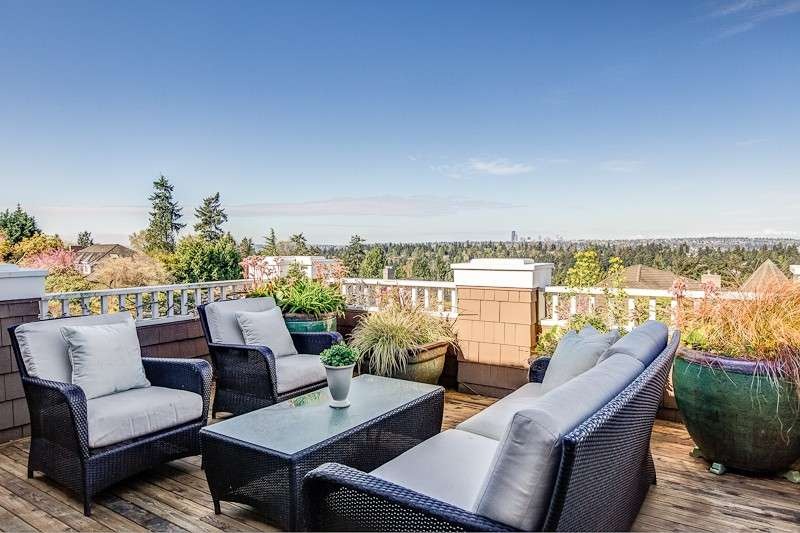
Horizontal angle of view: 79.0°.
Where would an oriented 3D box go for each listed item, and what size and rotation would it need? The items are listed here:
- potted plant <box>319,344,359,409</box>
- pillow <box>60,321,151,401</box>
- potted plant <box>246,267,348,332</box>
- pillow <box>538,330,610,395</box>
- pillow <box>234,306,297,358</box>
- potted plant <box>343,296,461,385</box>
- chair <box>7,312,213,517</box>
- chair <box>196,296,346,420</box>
[{"bbox_3d":[-0.504,0.883,3.866,0.361,0.430,0.362,-5,-10,16],"label":"potted plant"},{"bbox_3d":[-2.433,0.737,3.994,0.331,0.559,0.644,11,4,27],"label":"pillow"},{"bbox_3d":[-1.136,0.533,5.916,0.907,0.544,0.814,-2,-1,-35],"label":"potted plant"},{"bbox_3d":[1.246,0.675,3.426,0.274,0.479,0.450,22,-8,-7],"label":"pillow"},{"bbox_3d":[-1.386,0.659,4.869,0.244,0.396,0.473,-6,8,32],"label":"pillow"},{"bbox_3d":[0.035,0.810,5.493,1.037,0.668,1.034,1,1,35],"label":"potted plant"},{"bbox_3d":[-2.413,1.044,4.331,1.641,1.427,1.381,1,2,33],"label":"chair"},{"bbox_3d":[-1.322,0.858,5.014,1.319,0.937,1.250,7,6,41],"label":"chair"}]
